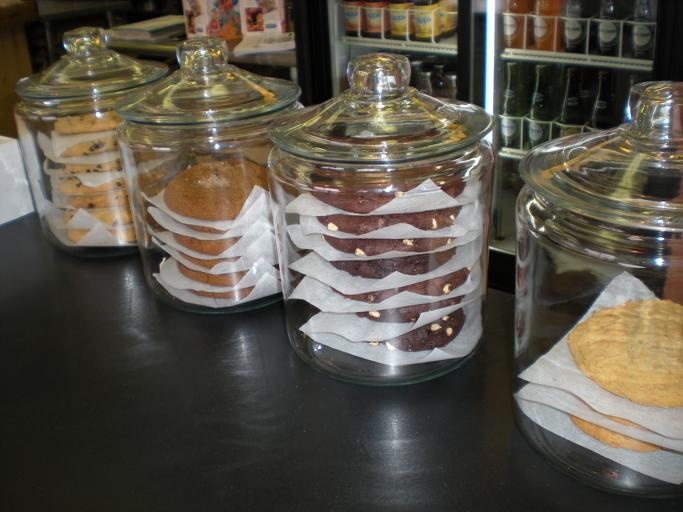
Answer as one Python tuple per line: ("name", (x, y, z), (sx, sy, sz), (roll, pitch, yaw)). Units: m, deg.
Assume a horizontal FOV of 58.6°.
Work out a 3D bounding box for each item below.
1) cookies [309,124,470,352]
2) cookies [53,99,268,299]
("cookies", (0.095, -0.047, 0.880), (0.290, 0.285, 0.272), (5, 20, 22))
("cookies", (-0.260, -0.115, 1.039), (0.304, 0.296, 0.279), (-3, 21, -6))
